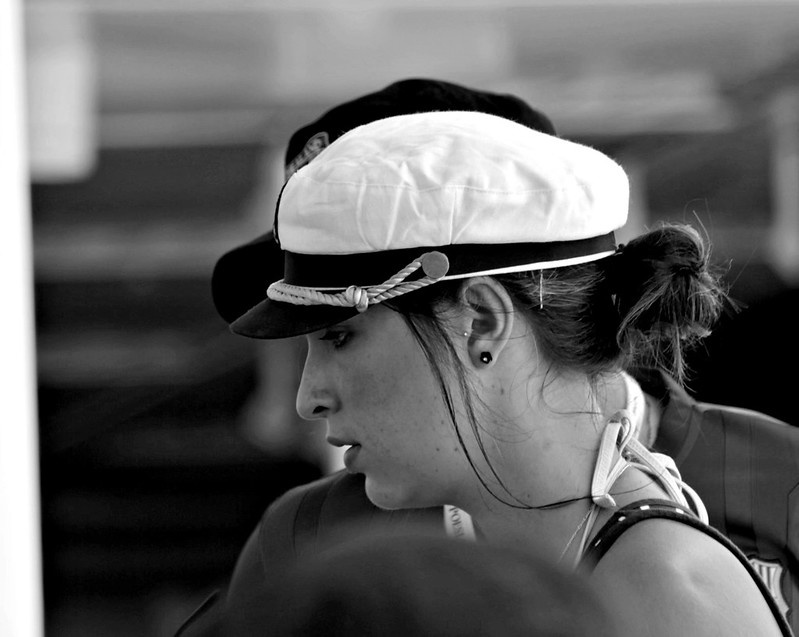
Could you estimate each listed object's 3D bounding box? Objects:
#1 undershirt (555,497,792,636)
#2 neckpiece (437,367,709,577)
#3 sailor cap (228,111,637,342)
[{"bbox_3d":[0.335,0.291,2.214,0.214,0.055,0.162,38,96,20],"label":"undershirt"},{"bbox_3d":[0.246,0.188,2.401,0.242,0.137,0.283,9,95,-25],"label":"neckpiece"},{"bbox_3d":[0.043,-0.128,2.357,0.525,0.382,0.233,-4,98,-2],"label":"sailor cap"}]
